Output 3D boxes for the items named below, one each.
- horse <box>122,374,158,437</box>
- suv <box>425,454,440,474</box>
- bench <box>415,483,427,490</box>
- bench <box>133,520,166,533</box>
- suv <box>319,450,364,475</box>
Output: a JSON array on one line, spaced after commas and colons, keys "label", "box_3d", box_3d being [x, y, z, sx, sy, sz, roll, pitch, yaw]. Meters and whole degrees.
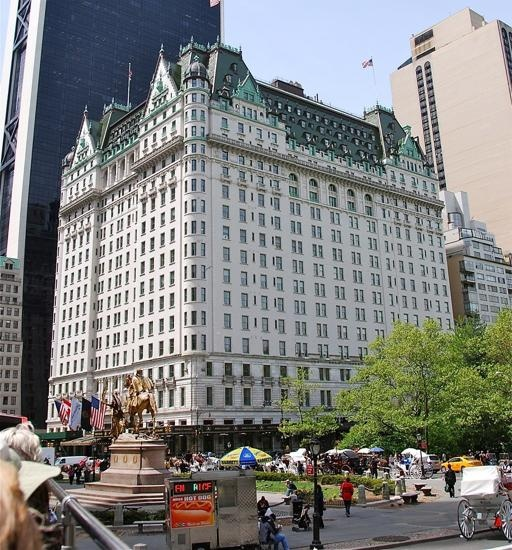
[{"label": "horse", "box_3d": [-6.122, 6.593, 39.918, 1.416, 3.178, 3.828, 3, -8, -29]}, {"label": "suv", "box_3d": [13.558, 14.616, 57.609, 1.463, 1.100, 2.293, -2, -10, 13]}, {"label": "bench", "box_3d": [9.138, 11.531, 40.752, 0.782, 0.330, 0.686, 1, -19, 9]}, {"label": "bench", "box_3d": [-4.090, 9.725, 28.830, 1.085, 0.465, 1.309, -1, -14, -10]}, {"label": "suv", "box_3d": [6.421, 13.996, 55.845, 2.489, 1.834, 3.901, 13, -29, -27]}]
